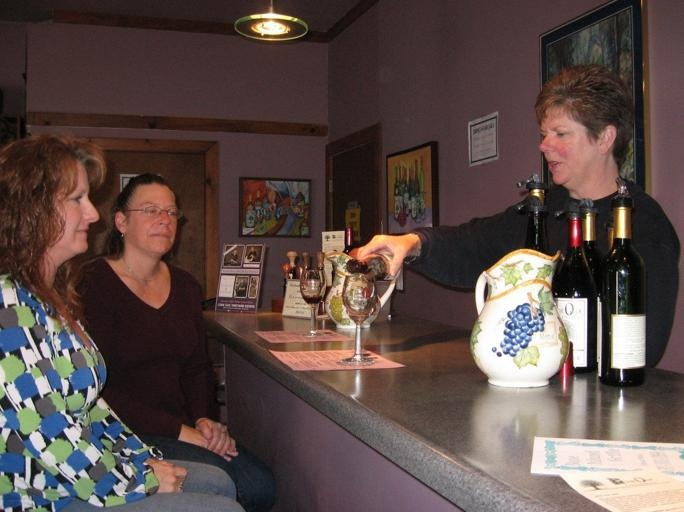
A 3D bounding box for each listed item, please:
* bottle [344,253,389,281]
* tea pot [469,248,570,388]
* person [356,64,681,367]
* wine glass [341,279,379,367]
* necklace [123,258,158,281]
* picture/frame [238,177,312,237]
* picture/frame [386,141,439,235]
[{"bbox_3d":[0.077,0.033,1.910,0.126,0.070,0.060,4,17,10],"label":"bottle"},{"bbox_3d":[0.420,0.150,1.471,0.225,0.318,0.238,-2,0,0],"label":"tea pot"},{"bbox_3d":[0.611,-0.189,2.462,0.957,1.660,0.943,1,1,-14],"label":"person"},{"bbox_3d":[0.052,0.169,1.744,0.095,0.238,0.211,-1,0,7],"label":"wine glass"},{"bbox_3d":[-0.774,0.056,2.349,0.095,0.066,0.074,0,-5,2],"label":"necklace"},{"bbox_3d":[-0.638,-0.445,5.572,0.537,0.455,0.038,-1,3,-13],"label":"picture/frame"},{"bbox_3d":[0.446,-0.439,4.252,0.059,0.618,0.640,5,13,36],"label":"picture/frame"}]
